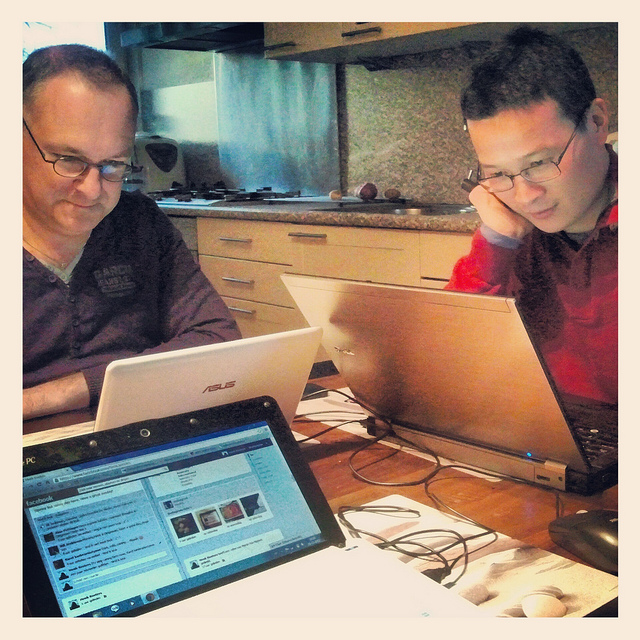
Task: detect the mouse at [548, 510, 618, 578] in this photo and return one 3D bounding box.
[{"bbox_3d":[0.290,0.240,0.651,0.043,0.022,0.071,7,7,-31],"label":"mouse"}]

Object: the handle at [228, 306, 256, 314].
[{"bbox_3d":[-0.386,-0.047,2.981,0.212,0.031,0.018,6,15,40],"label":"handle"}]

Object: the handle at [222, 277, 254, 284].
[{"bbox_3d":[-0.402,-0.194,2.978,0.171,0.017,0.018,11,26,30],"label":"handle"}]

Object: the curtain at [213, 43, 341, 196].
[{"bbox_3d":[-0.257,-1.129,3.534,1.227,0.850,0.236,16,22,39],"label":"curtain"}]

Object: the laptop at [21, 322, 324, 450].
[{"bbox_3d":[-0.204,0.056,0.830,0.255,0.159,0.316,29,30,35],"label":"laptop"}]

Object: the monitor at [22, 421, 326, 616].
[{"bbox_3d":[-0.135,0.179,0.560,0.280,0.145,0.004,-8,-20,-32],"label":"monitor"}]
